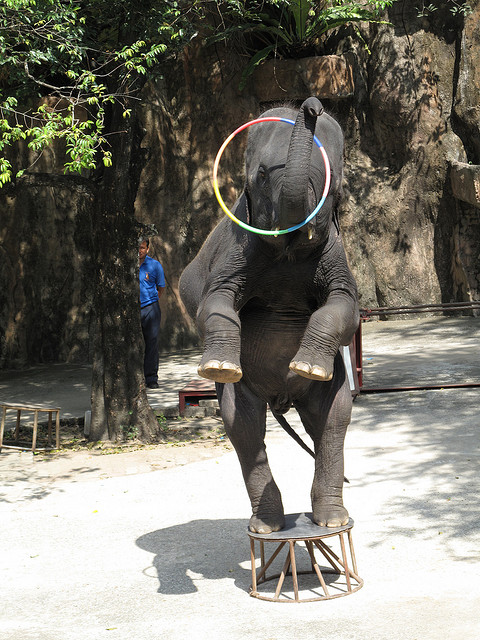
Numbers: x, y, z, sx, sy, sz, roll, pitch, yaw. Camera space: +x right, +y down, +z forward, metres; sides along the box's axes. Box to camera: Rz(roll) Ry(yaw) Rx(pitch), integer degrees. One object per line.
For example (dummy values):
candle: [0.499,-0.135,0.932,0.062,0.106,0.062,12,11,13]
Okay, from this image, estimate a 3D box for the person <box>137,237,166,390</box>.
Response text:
person: [-1.182,-0.096,10.301,0.295,2.059,0.601,-4,3,11]

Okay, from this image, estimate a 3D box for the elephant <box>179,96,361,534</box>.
elephant: [0.122,0.060,3.255,0.698,1.705,1.851,-2,-9,-2]

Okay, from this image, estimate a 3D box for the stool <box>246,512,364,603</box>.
stool: [0.301,1.091,3.500,0.488,0.298,0.526,-4,-6,6]
